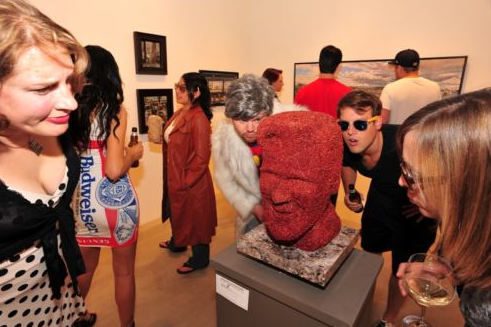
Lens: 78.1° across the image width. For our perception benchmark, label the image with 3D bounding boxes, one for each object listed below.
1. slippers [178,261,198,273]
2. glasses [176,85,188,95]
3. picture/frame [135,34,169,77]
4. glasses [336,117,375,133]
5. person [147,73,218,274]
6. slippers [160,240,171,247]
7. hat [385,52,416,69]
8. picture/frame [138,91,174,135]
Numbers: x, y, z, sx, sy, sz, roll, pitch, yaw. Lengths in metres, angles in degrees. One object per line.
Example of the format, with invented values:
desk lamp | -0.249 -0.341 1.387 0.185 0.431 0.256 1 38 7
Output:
slippers | -0.626 1.125 3.280 0.113 0.059 0.209 5 2 40
glasses | -0.653 -0.750 3.065 0.116 0.037 0.120 17 8 36
picture/frame | -1.170 -1.319 3.695 0.042 0.564 0.564 11 14 38
glasses | 0.877 -0.305 2.425 0.296 0.125 0.134 6 17 19
person | -0.605 0.136 3.174 0.578 2.048 0.571 -5 17 -15
slippers | -0.972 0.968 3.686 0.066 0.056 0.167 7 1 40
hat | 1.752 -1.136 3.453 0.212 0.151 0.280 -23 33 -19
picture/frame | -1.125 -0.610 3.710 0.054 0.652 0.689 2 7 30
